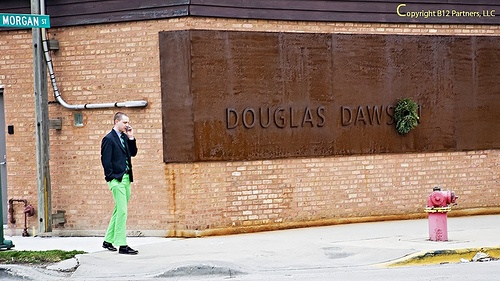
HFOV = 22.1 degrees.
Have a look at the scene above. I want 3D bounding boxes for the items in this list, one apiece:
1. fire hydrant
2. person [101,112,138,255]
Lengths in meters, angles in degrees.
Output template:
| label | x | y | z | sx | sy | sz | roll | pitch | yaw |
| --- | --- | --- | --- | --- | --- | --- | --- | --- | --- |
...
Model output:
| label | x | y | z | sx | sy | sz | roll | pitch | yaw |
| --- | --- | --- | --- | --- | --- | --- | --- | --- | --- |
| fire hydrant | 5.339 | 2.070 | 35.746 | 0.769 | 1.523 | 0.797 | 0 | 0 | 9 |
| person | -3.554 | 1.225 | 35.190 | 1.023 | 3.913 | 0.664 | -5 | -4 | -4 |
